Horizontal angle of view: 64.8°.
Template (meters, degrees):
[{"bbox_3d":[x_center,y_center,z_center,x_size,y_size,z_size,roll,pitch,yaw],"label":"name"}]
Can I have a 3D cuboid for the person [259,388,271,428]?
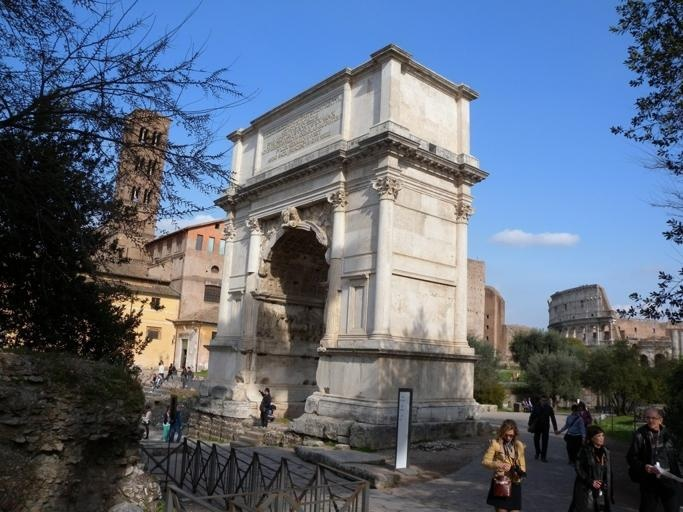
[{"bbox_3d":[-2.716,5.396,19.233,0.409,1.282,0.927,5,-15,-8],"label":"person"}]

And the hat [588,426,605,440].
[{"bbox_3d":[3.627,2.494,7.656,0.165,0.204,0.211,2,-27,13],"label":"hat"}]

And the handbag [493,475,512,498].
[{"bbox_3d":[2.339,3.322,7.777,0.300,0.367,0.146,-5,-13,22],"label":"handbag"}]
